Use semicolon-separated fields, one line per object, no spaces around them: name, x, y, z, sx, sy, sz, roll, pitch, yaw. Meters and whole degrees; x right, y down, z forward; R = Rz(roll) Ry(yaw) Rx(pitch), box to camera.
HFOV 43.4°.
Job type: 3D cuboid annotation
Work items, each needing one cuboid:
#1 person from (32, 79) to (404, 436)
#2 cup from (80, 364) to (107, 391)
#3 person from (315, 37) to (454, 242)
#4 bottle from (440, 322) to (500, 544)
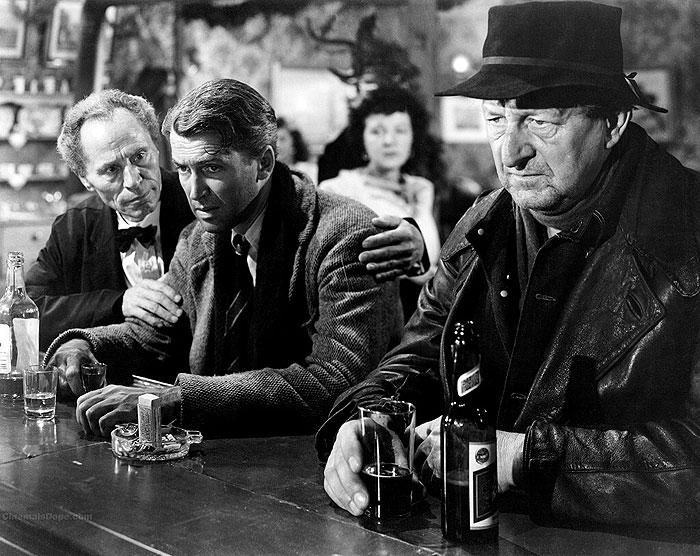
person;-0.336;-0.012;2.946;0.884;0.871;1.175;-1;1;36
cup;-0.808;0.312;2.734;0.077;0.098;0.079;-2;-1;0
person;0.139;-0.733;3.966;0.571;0.838;0.260;11;33;21
bottle;0.254;0.325;1.874;0.124;0.470;0.130;-1;2;0
